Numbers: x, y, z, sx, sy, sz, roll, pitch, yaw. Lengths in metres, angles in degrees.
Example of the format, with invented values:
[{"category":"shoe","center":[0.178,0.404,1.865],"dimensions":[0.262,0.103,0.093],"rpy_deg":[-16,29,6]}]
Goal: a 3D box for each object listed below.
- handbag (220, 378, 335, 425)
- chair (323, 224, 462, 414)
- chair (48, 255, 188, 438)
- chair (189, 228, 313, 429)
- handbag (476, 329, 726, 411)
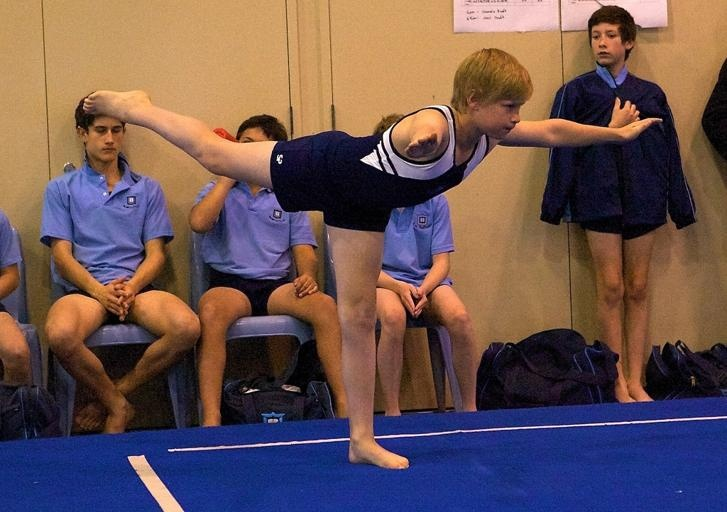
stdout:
[{"category":"handbag","center":[-0.412,0.665,3.516],"dimensions":[0.334,0.144,0.268],"rpy_deg":[2,-1,-4]},{"category":"chair","center":[0.237,0.212,3.746],"dimensions":[0.567,0.865,0.601],"rpy_deg":[5,-23,8]},{"category":"chair","center":[-1.169,0.454,4.037],"dimensions":[0.712,1.092,0.777],"rpy_deg":[-2,-2,8]},{"category":"chair","center":[-0.594,0.250,3.806],"dimensions":[0.432,0.696,0.565],"rpy_deg":[3,-5,-8]},{"category":"handbag","center":[1.196,0.580,3.861],"dimensions":[0.834,0.321,0.601],"rpy_deg":[-2,-5,-11]}]
